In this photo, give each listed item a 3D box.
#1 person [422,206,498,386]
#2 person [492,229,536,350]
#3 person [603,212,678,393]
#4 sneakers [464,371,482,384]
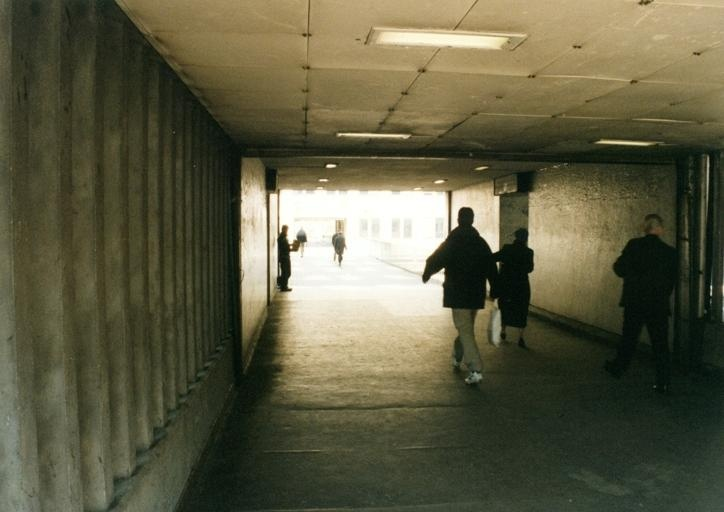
[{"bbox_3d":[1.098,0.425,7.533,0.797,1.851,0.509,0,8,4],"label":"person"},{"bbox_3d":[2.111,0.432,9.464,0.443,1.573,0.893,2,8,13],"label":"person"},{"bbox_3d":[3.005,0.483,7.340,0.655,1.800,0.440,4,9,30],"label":"person"},{"bbox_3d":[1.215,1.299,7.509,0.099,0.119,0.242,-1,-2,-11],"label":"sneakers"}]
